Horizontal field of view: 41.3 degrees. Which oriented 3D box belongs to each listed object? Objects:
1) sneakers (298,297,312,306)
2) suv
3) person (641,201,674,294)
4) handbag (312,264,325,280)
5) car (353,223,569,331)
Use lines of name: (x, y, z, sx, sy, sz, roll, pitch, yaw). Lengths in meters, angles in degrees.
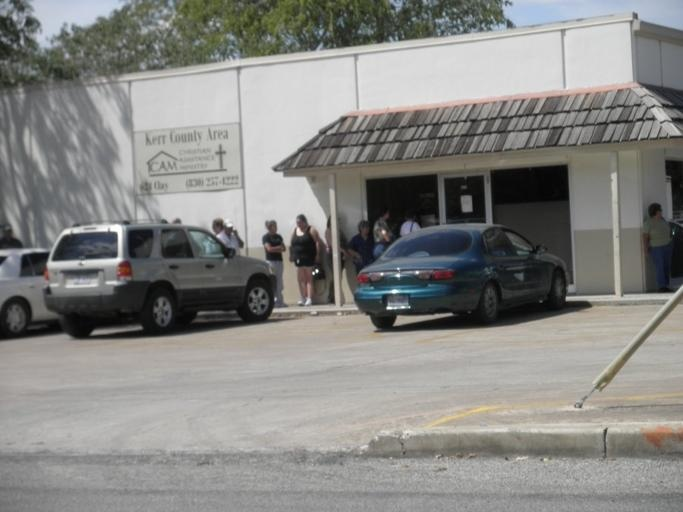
sneakers: (-0.901, 1.150, 22.752, 0.354, 0.193, 0.149, 3, 5, 4)
suv: (-3.578, 0.361, 18.765, 1.971, 2.024, 4.049, -1, 4, 34)
person: (7.029, -0.188, 20.141, 0.575, 1.938, 0.495, -1, 3, 24)
handbag: (-0.560, 0.408, 22.718, 0.229, 0.383, 0.354, 1, 3, -1)
car: (2.337, 0.307, 17.201, 4.098, 1.776, 1.797, -7, 5, -37)
